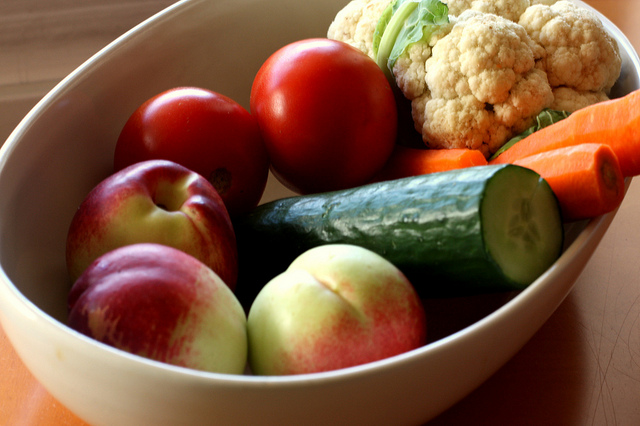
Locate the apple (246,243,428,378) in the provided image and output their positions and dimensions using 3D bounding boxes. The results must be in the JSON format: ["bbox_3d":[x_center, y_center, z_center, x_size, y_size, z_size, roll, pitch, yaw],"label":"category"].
[{"bbox_3d":[0.011,0.123,0.806,0.176,0.187,0.170,-18,1,-22],"label":"apple"}]

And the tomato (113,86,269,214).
[{"bbox_3d":[-0.213,-0.152,1.059,0.205,0.197,0.261,-14,23,-27],"label":"tomato"}]

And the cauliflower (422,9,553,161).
[{"bbox_3d":[0.258,-0.230,1.047,0.247,0.228,0.147,-6,15,-20],"label":"cauliflower"}]

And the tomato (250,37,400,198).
[{"bbox_3d":[-0.006,-0.156,1.104,0.264,0.275,0.251,25,-6,-12],"label":"tomato"}]

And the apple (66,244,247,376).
[{"bbox_3d":[-0.207,0.127,0.804,0.193,0.154,0.151,28,-26,-11],"label":"apple"}]
